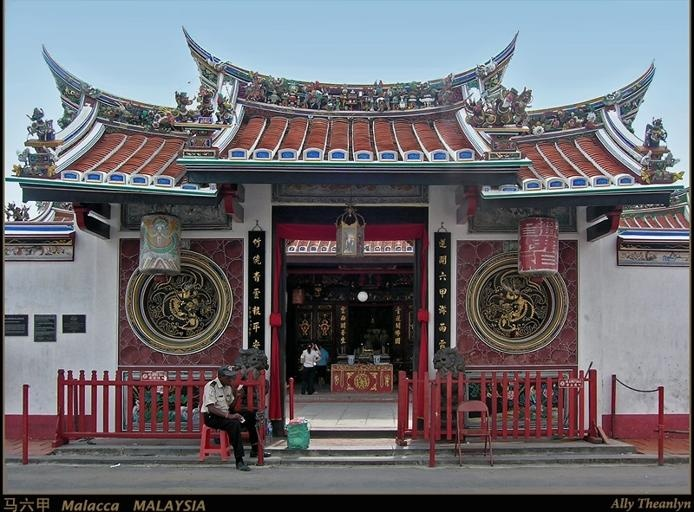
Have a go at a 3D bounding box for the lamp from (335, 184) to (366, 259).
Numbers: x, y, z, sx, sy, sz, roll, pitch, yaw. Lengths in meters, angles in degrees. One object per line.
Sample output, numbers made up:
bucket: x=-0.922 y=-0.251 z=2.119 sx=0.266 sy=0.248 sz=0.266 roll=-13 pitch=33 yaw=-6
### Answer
lamp: x=0.063 y=-0.445 z=17.602 sx=0.327 sy=0.911 sz=0.354 roll=4 pitch=-2 yaw=3

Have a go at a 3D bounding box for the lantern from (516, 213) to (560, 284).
lantern: x=3.053 y=-0.112 z=17.765 sx=0.587 sy=0.995 sz=0.513 roll=3 pitch=0 yaw=1

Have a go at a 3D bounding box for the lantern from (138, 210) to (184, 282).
lantern: x=-2.992 y=-0.204 z=17.797 sx=0.607 sy=0.937 sz=0.305 roll=1 pitch=-10 yaw=-16

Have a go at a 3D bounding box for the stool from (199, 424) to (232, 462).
stool: x=-2.116 y=2.837 z=16.918 sx=0.564 sy=0.409 sz=0.545 roll=3 pitch=-12 yaw=3
